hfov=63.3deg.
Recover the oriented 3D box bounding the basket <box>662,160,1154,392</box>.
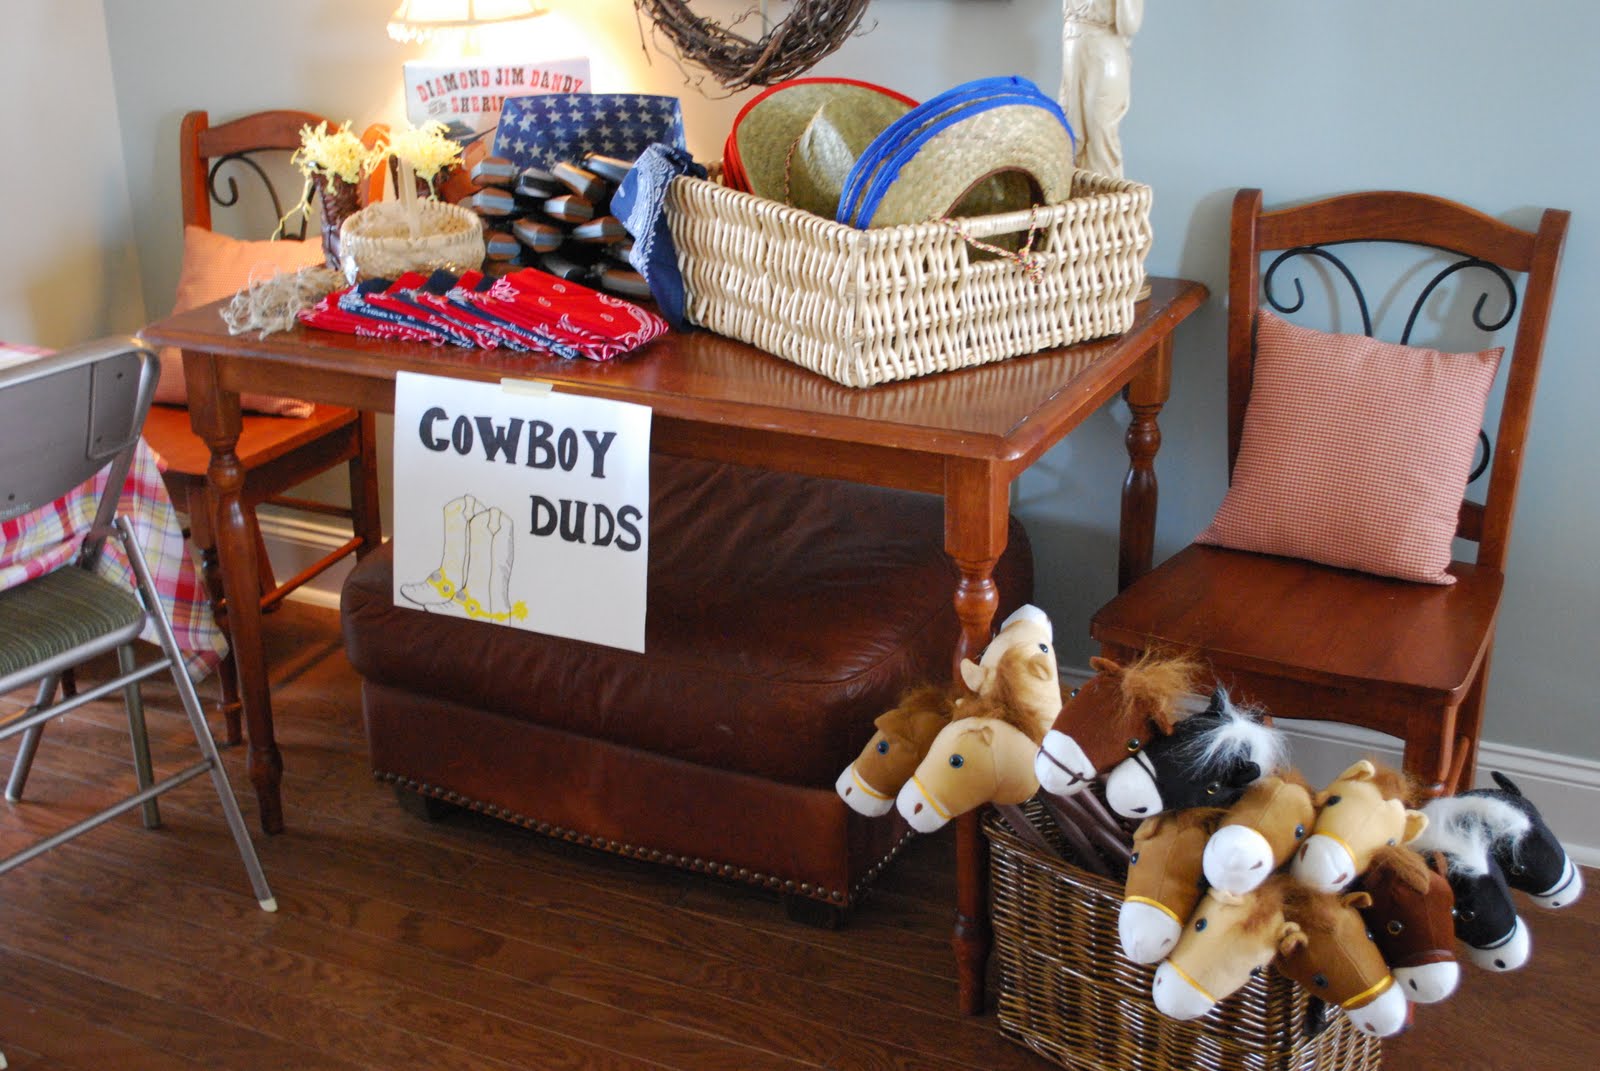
[{"bbox_3d":[0.143,-0.545,2.199,0.484,0.210,0.615,-23,36,-35],"label":"basket"}]

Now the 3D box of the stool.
[{"bbox_3d":[-0.237,0.187,2.536,1.074,0.532,0.870,11,32,23],"label":"stool"}]

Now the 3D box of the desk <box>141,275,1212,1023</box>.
[{"bbox_3d":[-0.257,0.076,2.924,1.830,1.156,1.162,8,23,22],"label":"desk"}]

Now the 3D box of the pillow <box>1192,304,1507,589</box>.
[{"bbox_3d":[1.100,-0.168,2.532,0.450,0.392,0.238,14,31,27],"label":"pillow"}]

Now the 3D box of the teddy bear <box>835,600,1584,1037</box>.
[{"bbox_3d":[0.574,0.493,2.186,1.041,0.510,0.644,20,36,7],"label":"teddy bear"}]
